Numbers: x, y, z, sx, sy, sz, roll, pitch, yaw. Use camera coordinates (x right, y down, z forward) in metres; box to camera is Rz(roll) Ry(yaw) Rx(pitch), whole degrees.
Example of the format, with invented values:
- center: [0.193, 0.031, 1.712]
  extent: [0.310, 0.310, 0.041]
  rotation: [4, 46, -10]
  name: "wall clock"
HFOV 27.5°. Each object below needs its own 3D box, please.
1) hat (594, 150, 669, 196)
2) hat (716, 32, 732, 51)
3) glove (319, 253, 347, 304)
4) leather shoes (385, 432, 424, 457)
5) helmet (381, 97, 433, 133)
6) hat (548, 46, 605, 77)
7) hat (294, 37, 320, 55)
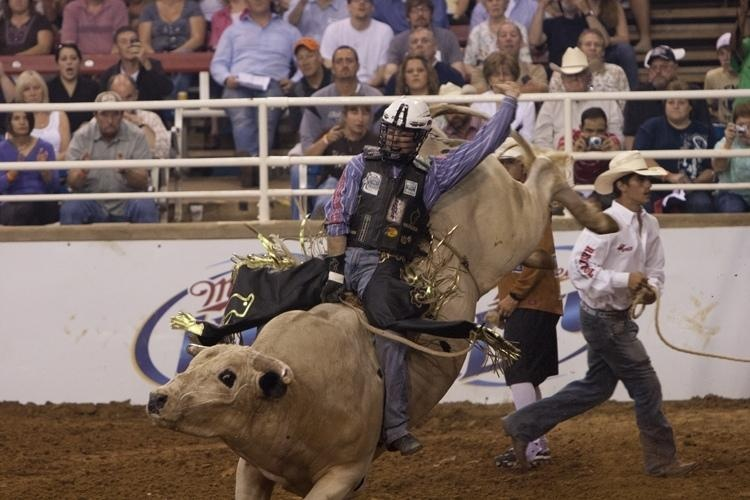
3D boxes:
- center: [3.072, -0.994, 18.520]
  extent: [0.738, 0.279, 0.552]
  rotation: [-20, -10, -6]
  name: "hat"
- center: [5.195, -3.123, 22.727]
  extent: [0.279, 0.263, 0.347]
  rotation: [-3, 2, 13]
  name: "hat"
- center: [-0.462, 0.275, 17.172]
  extent: [0.192, 0.432, 0.309]
  rotation: [6, 1, 29]
  name: "glove"
- center: [0.306, 2.129, 16.934]
  extent: [0.415, 0.174, 0.201]
  rotation: [-12, -5, 38]
  name: "leather shoes"
- center: [0.350, -1.522, 17.076]
  extent: [0.380, 0.376, 0.458]
  rotation: [12, -15, -3]
  name: "helmet"
- center: [2.831, -2.701, 21.763]
  extent: [0.416, 0.217, 0.491]
  rotation: [-15, 3, 19]
  name: "hat"
- center: [-0.952, -2.963, 22.085]
  extent: [0.240, 0.161, 0.321]
  rotation: [-17, -12, 11]
  name: "hat"
